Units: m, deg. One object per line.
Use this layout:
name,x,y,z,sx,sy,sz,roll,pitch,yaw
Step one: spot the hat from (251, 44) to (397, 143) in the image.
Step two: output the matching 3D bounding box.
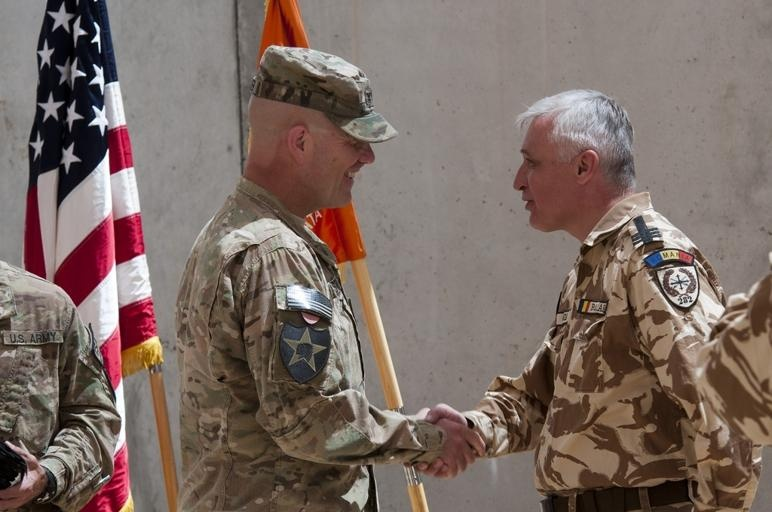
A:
hat,-0.222,-0.616,4.060,0.480,0.216,0.312,20,14,1
